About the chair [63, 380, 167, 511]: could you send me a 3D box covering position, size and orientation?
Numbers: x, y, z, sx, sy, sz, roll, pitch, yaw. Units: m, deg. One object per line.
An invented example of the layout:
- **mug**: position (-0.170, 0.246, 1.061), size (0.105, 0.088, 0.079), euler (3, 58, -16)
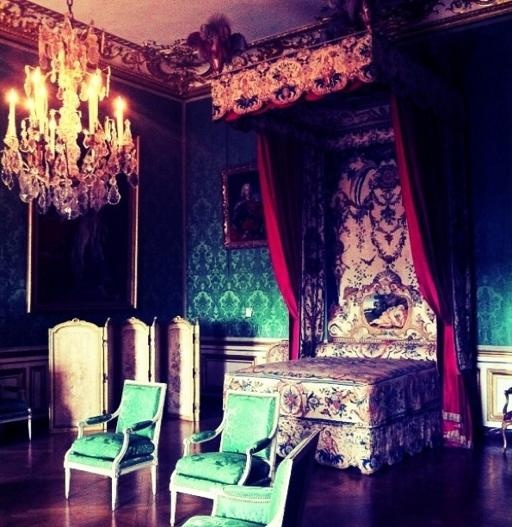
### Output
- **chair**: position (-0.945, 1.189, 3.802), size (0.567, 0.704, 0.569), euler (-2, -4, 30)
